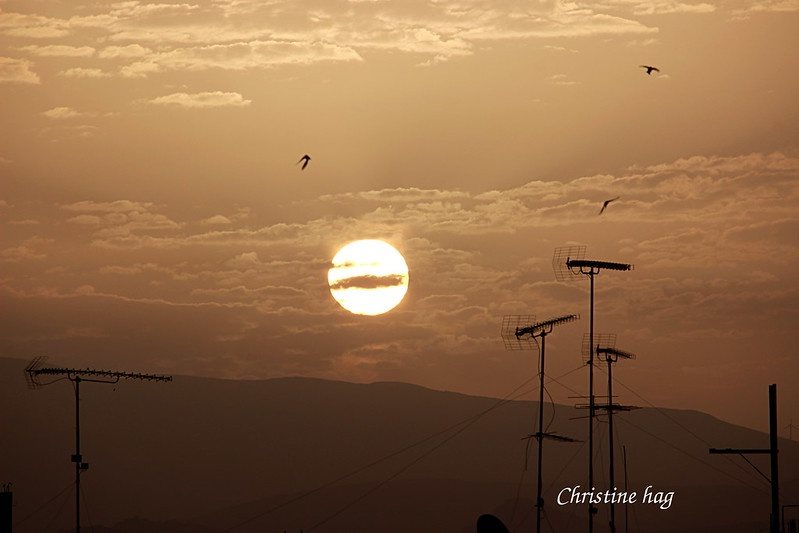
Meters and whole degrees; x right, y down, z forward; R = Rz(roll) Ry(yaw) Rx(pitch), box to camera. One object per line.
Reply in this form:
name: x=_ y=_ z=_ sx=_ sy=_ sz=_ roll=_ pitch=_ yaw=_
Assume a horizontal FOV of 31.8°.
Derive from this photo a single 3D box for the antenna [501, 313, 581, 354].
antenna: x=2.375 y=1.114 z=23.807 sx=1.265 sy=0.617 sz=1.408 roll=1 pitch=-3 yaw=3
